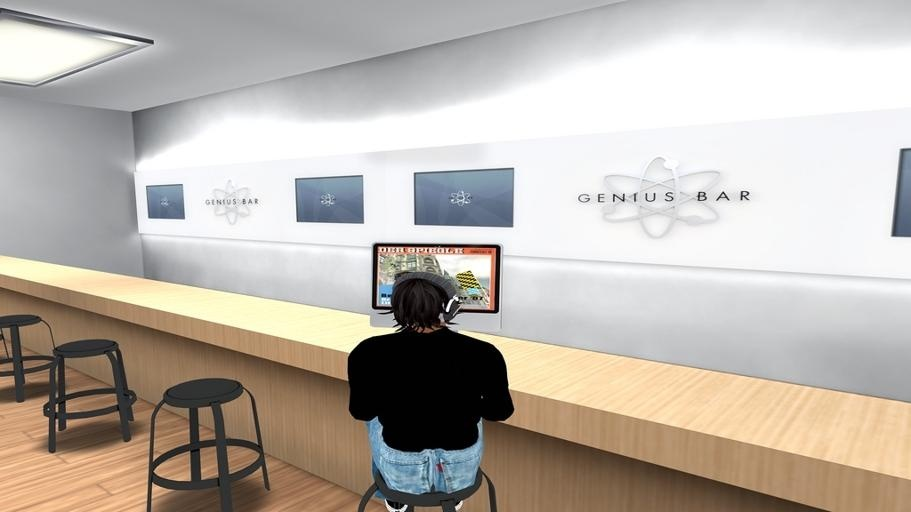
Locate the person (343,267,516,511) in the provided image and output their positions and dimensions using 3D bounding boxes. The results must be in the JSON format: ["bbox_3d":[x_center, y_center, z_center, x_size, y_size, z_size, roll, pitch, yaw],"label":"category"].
[{"bbox_3d":[-0.149,0.741,2.778,0.844,1.295,0.289,-3,8,-12],"label":"person"}]
